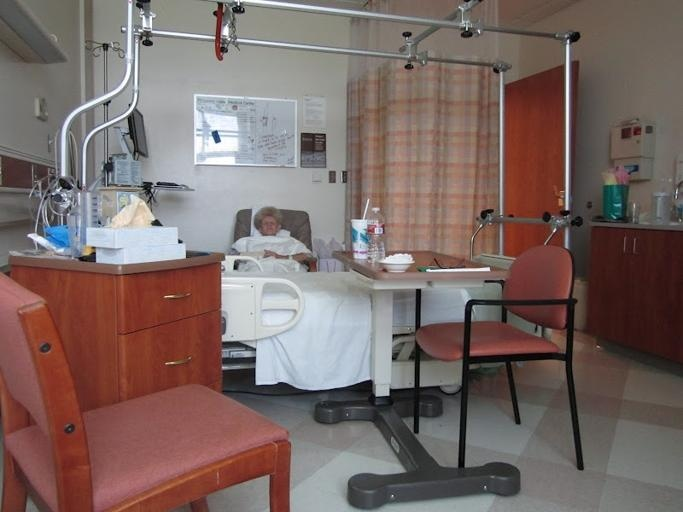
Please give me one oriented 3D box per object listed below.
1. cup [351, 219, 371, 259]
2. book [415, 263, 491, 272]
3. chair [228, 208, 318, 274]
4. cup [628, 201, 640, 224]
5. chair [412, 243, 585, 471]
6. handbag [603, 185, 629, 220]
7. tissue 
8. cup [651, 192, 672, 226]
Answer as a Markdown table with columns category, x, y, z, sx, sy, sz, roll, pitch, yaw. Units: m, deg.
| category | x | y | z | sx | sy | sz | roll | pitch | yaw |
| --- | --- | --- | --- | --- | --- | --- | --- | --- | --- |
| cup | 0.086 | -0.093 | 2.758 | 0.159 | 0.232 | 0.160 | 0 | 4 | 0 |
| book | 0.488 | 0.055 | 2.390 | 0.321 | 0.017 | 0.172 | 1 | 11 | 2 |
| chair | -0.557 | -0.025 | 4.512 | 0.615 | 0.536 | 0.858 | 0 | 18 | -8 |
| cup | 2.020 | -0.306 | 3.839 | 0.079 | 0.129 | 0.139 | 7 | 13 | 28 |
| chair | 0.756 | 0.414 | 2.986 | 0.901 | 1.358 | 0.945 | 1 | -1 | -9 |
| handbag | 1.949 | -0.389 | 3.963 | 0.169 | 0.255 | 0.195 | 6 | 12 | 25 |
| tissue  | -0.773 | -0.113 | 2.012 | 0.229 | 0.148 | 0.231 | 1 | 1 | 41 |
| cup | 2.099 | -0.318 | 3.653 | 0.120 | 0.194 | 0.185 | 7 | 13 | 28 |
